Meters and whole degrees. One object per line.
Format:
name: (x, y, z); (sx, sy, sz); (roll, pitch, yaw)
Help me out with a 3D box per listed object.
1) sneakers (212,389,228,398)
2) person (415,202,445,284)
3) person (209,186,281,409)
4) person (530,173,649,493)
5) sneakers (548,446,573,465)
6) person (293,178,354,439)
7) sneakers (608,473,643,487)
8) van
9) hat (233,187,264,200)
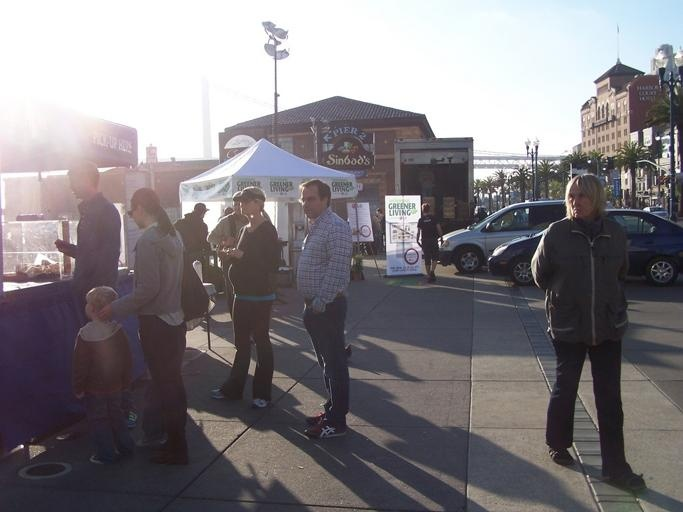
sneakers: (-1.361, 1.519, 6.590); (0.180, 0.093, 0.078); (8, -1, 15)
person: (2.332, -0.368, 15.760); (0.677, 2.004, 0.961); (-1, 6, 8)
person: (-0.952, 0.432, 6.299); (0.623, 2.279, 0.395); (-2, 5, -12)
person: (1.976, 0.548, 4.762); (0.787, 2.384, 0.434); (2, 6, 29)
sneakers: (1.834, 1.662, 4.991); (0.083, 0.109, 0.223); (-1, -5, -21)
person: (-0.146, 0.471, 5.641); (0.529, 2.366, 0.545); (-2, 5, -6)
sneakers: (2.192, 1.721, 4.571); (0.188, 0.071, 0.115); (-10, -7, 43)
van: (4.563, -0.612, 17.202); (3.145, 1.849, 1.913); (-1, 1, 14)
hat: (-0.961, -0.659, 6.354); (0.239, 0.140, 0.316); (-4, 7, -20)
